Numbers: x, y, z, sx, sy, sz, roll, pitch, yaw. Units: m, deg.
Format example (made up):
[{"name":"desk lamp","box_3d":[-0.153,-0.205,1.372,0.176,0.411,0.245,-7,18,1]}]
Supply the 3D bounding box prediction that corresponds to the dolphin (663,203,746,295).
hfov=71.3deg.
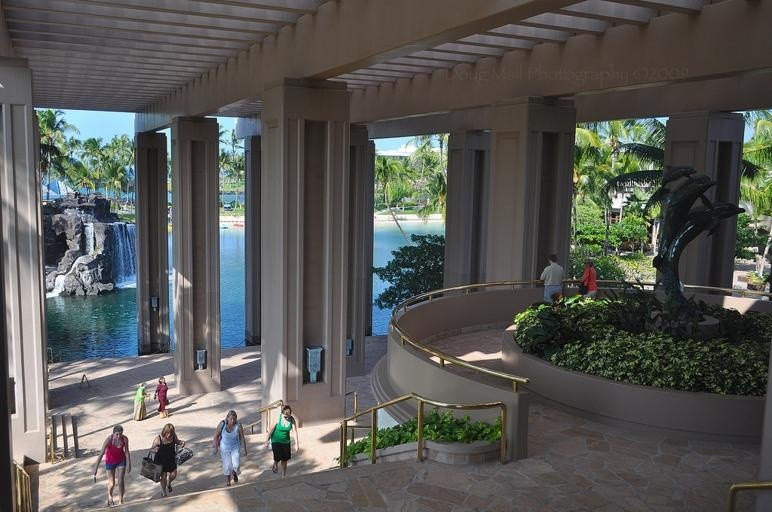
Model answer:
[{"name":"dolphin","box_3d":[6.029,-0.069,10.632,1.143,1.834,0.490,-3,8,8]}]

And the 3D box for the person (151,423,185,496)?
[{"name":"person","box_3d":[-4.433,4.016,10.877,0.781,1.786,0.902,0,0,-16]}]

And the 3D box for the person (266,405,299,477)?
[{"name":"person","box_3d":[-2.146,3.897,11.177,0.942,1.721,0.840,1,4,-6]}]
